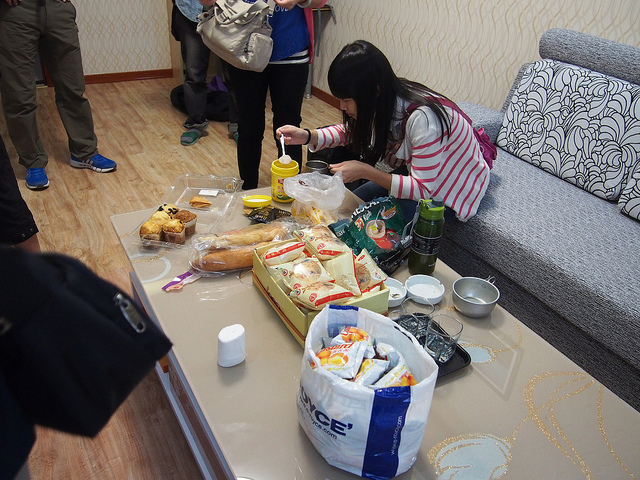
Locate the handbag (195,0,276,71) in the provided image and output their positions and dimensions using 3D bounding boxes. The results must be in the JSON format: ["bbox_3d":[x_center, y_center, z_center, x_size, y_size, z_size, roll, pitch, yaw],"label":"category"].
[{"bbox_3d":[-0.429,-1.044,2.102,0.424,0.284,0.221,17,41,13],"label":"handbag"}]

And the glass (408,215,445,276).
[{"bbox_3d":[0.383,0.026,1.541,0.103,0.202,0.125,10,40,7],"label":"glass"}]

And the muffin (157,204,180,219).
[{"bbox_3d":[-0.585,-0.120,1.664,0.065,0.020,0.057,41,39,18],"label":"muffin"}]

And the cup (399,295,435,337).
[{"bbox_3d":[0.324,0.237,1.369,0.122,0.104,0.102,-11,37,-17],"label":"cup"}]

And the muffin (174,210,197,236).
[{"bbox_3d":[-0.505,-0.078,1.655,0.082,0.088,0.087,20,38,22],"label":"muffin"}]

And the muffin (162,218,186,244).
[{"bbox_3d":[-0.551,-0.028,1.598,0.076,0.078,0.079,1,40,-4],"label":"muffin"}]

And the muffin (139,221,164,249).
[{"bbox_3d":[-0.615,-0.019,1.572,0.072,0.096,0.097,-3,42,-17],"label":"muffin"}]

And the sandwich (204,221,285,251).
[{"bbox_3d":[-0.275,-0.011,1.562,0.171,0.054,0.051,-15,51,-24],"label":"sandwich"}]

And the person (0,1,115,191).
[{"bbox_3d":[-1.690,-0.895,2.629,0.543,1.011,0.466,-17,44,-24],"label":"person"}]

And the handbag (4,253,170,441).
[{"bbox_3d":[-0.358,0.161,0.657,0.224,0.288,0.158,6,39,1],"label":"handbag"}]

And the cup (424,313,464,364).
[{"bbox_3d":[0.369,0.299,1.268,0.079,0.103,0.085,8,33,-5],"label":"cup"}]

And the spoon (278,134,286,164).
[{"bbox_3d":[-0.169,-0.406,1.890,0.039,0.151,0.042,-3,2,-15],"label":"spoon"}]

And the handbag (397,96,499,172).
[{"bbox_3d":[0.578,-0.466,1.929,0.361,0.389,0.274,-11,50,7],"label":"handbag"}]
